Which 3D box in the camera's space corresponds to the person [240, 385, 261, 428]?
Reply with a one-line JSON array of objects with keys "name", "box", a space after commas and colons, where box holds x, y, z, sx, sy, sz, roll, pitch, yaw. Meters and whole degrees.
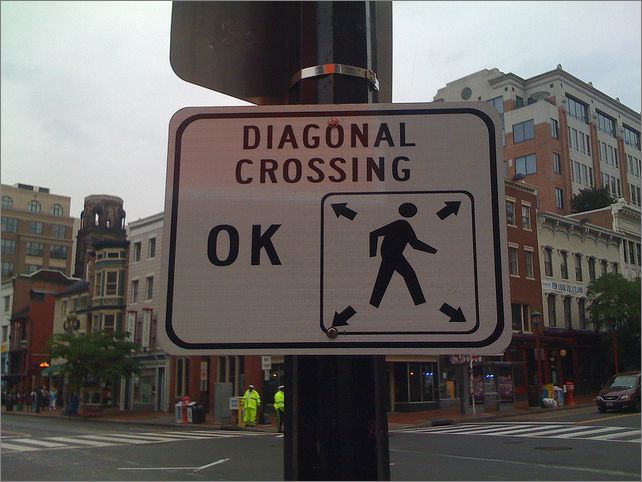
[{"name": "person", "box": [-2.595, 6.119, 25.863, 0.651, 1.454, 1.279, 1, -9, -7]}]

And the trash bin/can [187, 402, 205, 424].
[{"name": "trash bin/can", "box": [-5.141, 7.135, 28.875, 0.676, 0.817, 0.736, 2, -9, -14]}]
